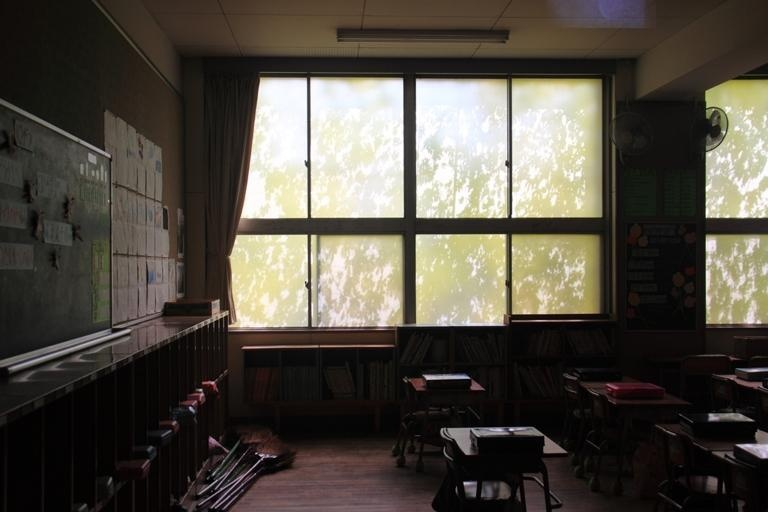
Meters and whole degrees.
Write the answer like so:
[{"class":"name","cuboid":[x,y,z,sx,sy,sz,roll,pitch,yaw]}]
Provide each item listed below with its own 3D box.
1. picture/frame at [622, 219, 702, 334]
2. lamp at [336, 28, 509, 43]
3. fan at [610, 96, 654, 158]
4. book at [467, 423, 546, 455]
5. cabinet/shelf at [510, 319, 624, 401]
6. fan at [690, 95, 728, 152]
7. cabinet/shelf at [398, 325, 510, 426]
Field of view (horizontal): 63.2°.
[{"class":"picture/frame","cuboid":[3.385,0.263,7.714,1.216,1.973,0.219,0,-3,-1]},{"class":"lamp","cuboid":[0.435,-2.505,7.061,1.953,0.124,0.287,0,8,-2]},{"class":"fan","cuboid":[2.901,-1.551,7.530,0.435,0.667,0.159,-9,9,0]},{"class":"book","cuboid":[0.966,1.425,4.858,0.573,0.168,0.247,0,8,1]},{"class":"cabinet/shelf","cuboid":[2.123,1.216,7.297,0.829,0.666,0.295,0,-5,-2]},{"class":"fan","cuboid":[3.824,-1.524,7.175,0.435,0.492,0.459,-4,0,-11]},{"class":"cabinet/shelf","cuboid":[0.769,1.339,7.099,1.045,1.046,0.365,0,-3,-5]}]
